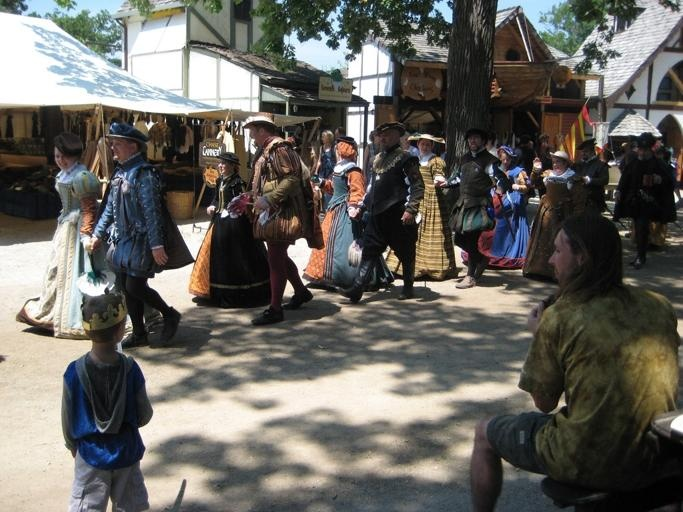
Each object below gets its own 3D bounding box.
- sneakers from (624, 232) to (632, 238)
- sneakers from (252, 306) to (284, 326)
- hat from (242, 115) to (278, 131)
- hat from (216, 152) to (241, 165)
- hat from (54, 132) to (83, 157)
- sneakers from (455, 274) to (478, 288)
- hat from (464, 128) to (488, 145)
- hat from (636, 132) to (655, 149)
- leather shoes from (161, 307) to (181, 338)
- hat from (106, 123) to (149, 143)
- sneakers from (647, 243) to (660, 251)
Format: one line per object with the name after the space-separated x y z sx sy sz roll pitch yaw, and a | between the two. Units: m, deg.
5.298 -0.398 12.538 0.127 0.126 0.128 0 3 11 | sneakers
-0.696 0.584 6.646 0.356 0.149 0.132 -4 8 -28 | sneakers
-0.757 -1.267 6.399 0.287 0.094 0.251 -2 7 -16 | hat
-1.168 -1.039 7.193 0.140 0.052 0.166 17 2 20 | hat
-2.423 -0.989 6.018 0.208 0.210 0.205 -4 13 -20 | hat
1.523 0.318 8.305 0.257 0.108 0.133 1 -5 -32 | sneakers
1.668 -1.495 8.381 0.347 0.102 0.346 0 27 -4 | hat
4.484 -1.709 10.060 0.242 0.246 0.315 6 16 15 | hat
-1.498 0.593 5.970 0.127 0.304 0.135 7 -12 33 | leather shoes
-1.767 -1.021 5.607 0.244 0.086 0.180 9 8 -26 | hat
5.157 -0.150 11.188 0.146 0.145 0.153 -9 14 9 | sneakers
